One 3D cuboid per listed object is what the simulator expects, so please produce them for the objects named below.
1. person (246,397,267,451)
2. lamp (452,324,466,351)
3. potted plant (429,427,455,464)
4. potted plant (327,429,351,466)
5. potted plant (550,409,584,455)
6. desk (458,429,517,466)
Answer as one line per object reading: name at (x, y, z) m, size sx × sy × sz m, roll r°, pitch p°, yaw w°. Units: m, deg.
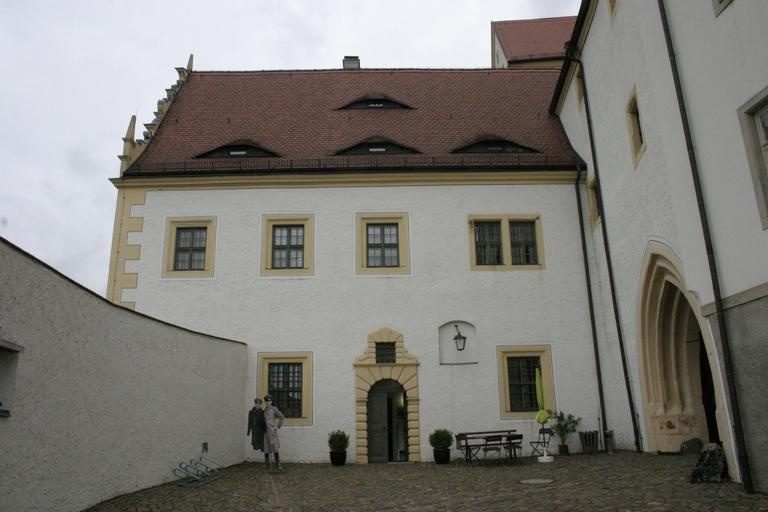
person at (-3.424, 4.486, 16.702) m, size 0.466 × 1.353 × 0.635 m, roll 0°, pitch -11°, yaw -14°
lamp at (2.211, 2.360, 18.277) m, size 0.398 × 0.778 × 0.203 m, roll -4°, pitch -11°, yaw 8°
potted plant at (1.556, 5.136, 16.955) m, size 0.836 × 0.960 × 0.846 m, roll 0°, pitch -13°, yaw -2°
potted plant at (-1.274, 5.311, 17.356) m, size 0.568 × 0.900 × 0.597 m, roll -6°, pitch -11°, yaw 15°
potted plant at (5.128, 4.959, 17.696) m, size 0.802 × 1.120 × 0.526 m, roll 6°, pitch -14°, yaw -38°
desk at (2.870, 5.125, 16.927) m, size 1.694 × 0.804 × 2.017 m, roll -5°, pitch -10°, yaw 11°
